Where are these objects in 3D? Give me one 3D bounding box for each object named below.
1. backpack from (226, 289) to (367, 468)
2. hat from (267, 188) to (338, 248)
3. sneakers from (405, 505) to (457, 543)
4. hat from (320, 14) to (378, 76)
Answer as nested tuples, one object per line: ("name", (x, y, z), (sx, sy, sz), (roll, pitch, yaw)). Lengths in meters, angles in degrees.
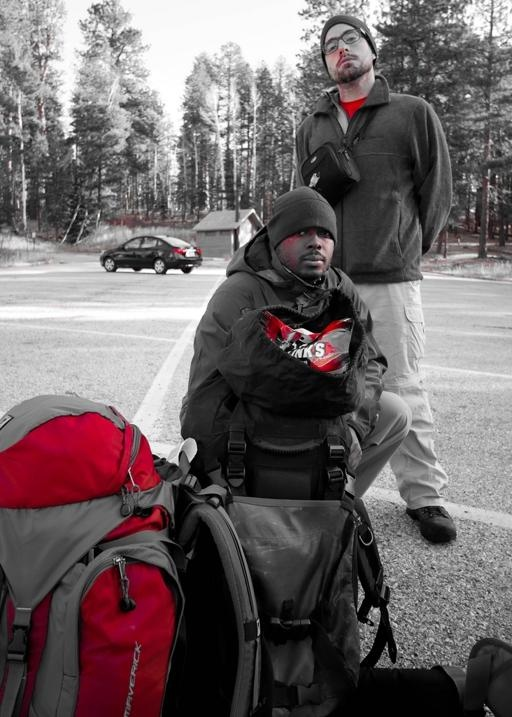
("backpack", (0.084, 0.067, 1.744), (0.344, 0.413, 0.199), (9, -15, -20))
("hat", (0.146, -0.479, 2.237), (0.183, 0.193, 0.232), (-6, 6, -40))
("sneakers", (0.796, 0.732, 2.806), (0.136, 0.101, 0.213), (-2, 9, -4))
("hat", (0.440, -1.556, 3.073), (0.282, 0.360, 0.156), (-3, 11, 11))
